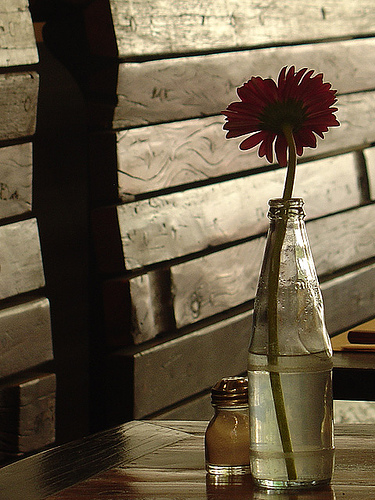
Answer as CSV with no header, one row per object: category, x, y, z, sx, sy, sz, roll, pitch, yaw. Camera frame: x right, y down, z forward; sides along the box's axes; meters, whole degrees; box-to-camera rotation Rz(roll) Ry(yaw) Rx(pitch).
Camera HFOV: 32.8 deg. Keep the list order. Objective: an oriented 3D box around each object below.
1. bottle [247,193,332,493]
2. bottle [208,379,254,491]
bottle,0.087,0.080,0.572,0.080,0.261,0.059,-5,-6,3
bottle,0.038,0.171,0.606,0.046,0.093,0.081,-5,-6,2
